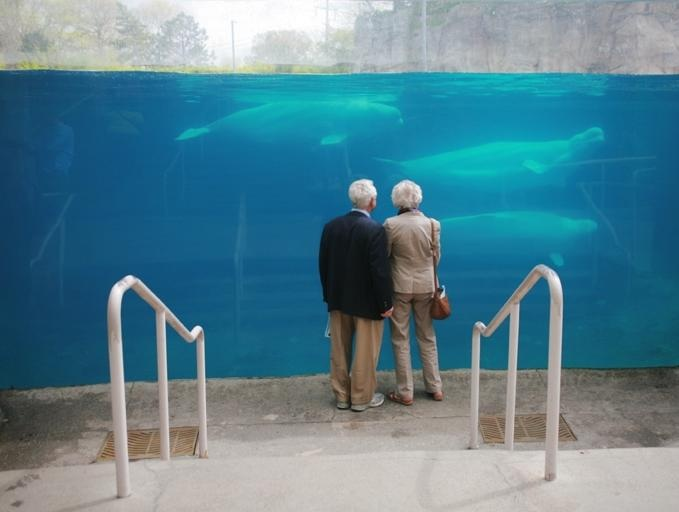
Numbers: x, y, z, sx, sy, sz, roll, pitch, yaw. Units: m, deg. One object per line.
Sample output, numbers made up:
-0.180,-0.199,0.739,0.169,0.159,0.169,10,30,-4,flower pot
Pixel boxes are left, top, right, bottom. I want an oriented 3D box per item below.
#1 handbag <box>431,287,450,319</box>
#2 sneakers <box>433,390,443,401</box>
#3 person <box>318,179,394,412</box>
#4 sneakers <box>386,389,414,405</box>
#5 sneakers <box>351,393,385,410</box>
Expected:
0.982,0.459,7.245,0.146,0.269,0.219,-8,3,28,handbag
0.951,1.343,7.333,0.088,0.060,0.220,-2,2,4,sneakers
0.153,0.374,7.148,0.704,2.178,0.348,-1,3,10,person
0.587,1.341,7.287,0.100,0.092,0.222,-7,11,-43,sneakers
0.292,1.379,7.252,0.346,0.162,0.125,-9,11,-43,sneakers
